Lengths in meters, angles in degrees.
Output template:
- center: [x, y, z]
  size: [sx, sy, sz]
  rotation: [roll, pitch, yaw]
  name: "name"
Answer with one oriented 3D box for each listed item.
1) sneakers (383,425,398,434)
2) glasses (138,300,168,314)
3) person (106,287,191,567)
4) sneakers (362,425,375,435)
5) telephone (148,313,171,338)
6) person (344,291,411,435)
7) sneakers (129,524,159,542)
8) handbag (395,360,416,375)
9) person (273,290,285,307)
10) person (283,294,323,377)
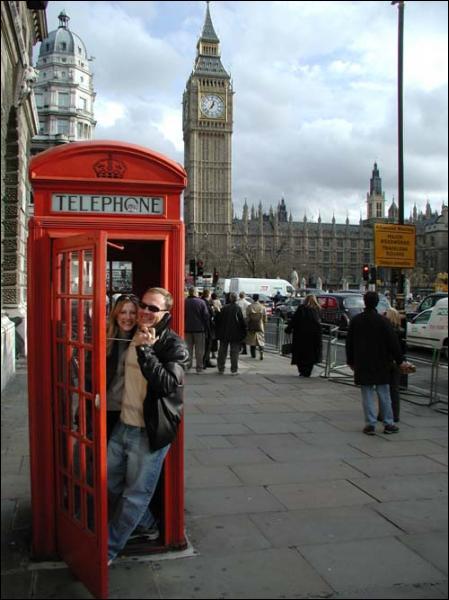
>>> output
- center: [1.903, 1.444, 7.298]
  size: [0.071, 0.095, 0.197]
  rotation: [4, 8, 41]
  name: "sneakers"
- center: [-0.392, 0.033, 3.556]
  size: [0.164, 0.077, 0.098]
  rotation: [-1, 2, -7]
  name: "glasses"
- center: [-0.448, 0.705, 3.639]
  size: [0.449, 1.551, 0.691]
  rotation: [-1, 2, -11]
  name: "person"
- center: [1.626, 1.431, 7.161]
  size: [0.060, 0.076, 0.173]
  rotation: [1, 7, -5]
  name: "sneakers"
- center: [-0.357, 0.124, 3.588]
  size: [0.088, 0.114, 0.116]
  rotation: [-6, 0, -38]
  name: "telephone"
- center: [1.757, 0.700, 7.406]
  size: [0.637, 1.594, 0.635]
  rotation: [0, 2, -2]
  name: "person"
- center: [-0.486, 1.401, 3.875]
  size: [0.199, 0.098, 0.074]
  rotation: [5, -4, -23]
  name: "sneakers"
- center: [2.108, 0.761, 7.367]
  size: [0.201, 0.088, 0.183]
  rotation: [1, 5, -20]
  name: "handbag"
- center: [3.349, -0.081, 39.297]
  size: [0.656, 0.769, 1.219]
  rotation: [6, 11, 27]
  name: "person"
- center: [1.490, 0.654, 11.912]
  size: [0.657, 1.545, 0.455]
  rotation: [0, 2, 8]
  name: "person"
